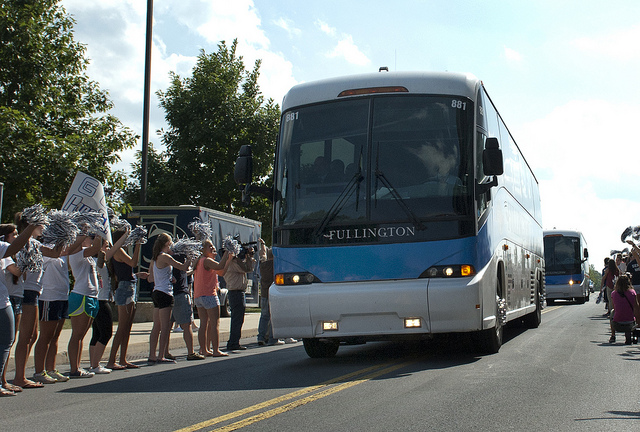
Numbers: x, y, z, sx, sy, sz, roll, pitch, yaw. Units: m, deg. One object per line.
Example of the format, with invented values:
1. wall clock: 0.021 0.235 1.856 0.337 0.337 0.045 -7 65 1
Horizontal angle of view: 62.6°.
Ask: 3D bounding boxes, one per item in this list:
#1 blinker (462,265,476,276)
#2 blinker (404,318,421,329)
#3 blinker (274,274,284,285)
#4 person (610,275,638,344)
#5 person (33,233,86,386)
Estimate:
1. blinker: 2.519 0.909 8.919 0.260 0.177 0.040 2 -6 -25
2. blinker: 1.541 1.771 8.803 0.258 0.166 0.062 -5 -4 6
3. blinker: -0.730 1.109 9.323 0.211 0.173 0.045 -6 -8 44
4. person: 7.498 2.249 13.015 0.566 1.607 0.984 -4 -7 31
5. person: -4.340 1.513 8.740 0.634 2.408 1.313 3 -6 -29
